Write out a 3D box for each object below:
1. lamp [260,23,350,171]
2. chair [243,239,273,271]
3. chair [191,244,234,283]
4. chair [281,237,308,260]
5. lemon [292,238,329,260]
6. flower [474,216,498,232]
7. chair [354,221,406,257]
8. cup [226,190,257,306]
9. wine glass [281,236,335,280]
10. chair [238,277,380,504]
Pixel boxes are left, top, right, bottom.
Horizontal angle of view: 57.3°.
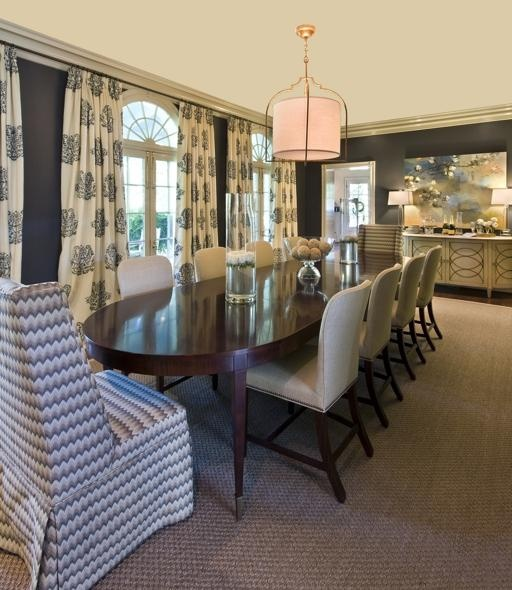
[{"bbox_3d":[0.366,-1.368,3.240,0.467,0.861,0.527,-2,4,-1],"label":"lamp"},{"bbox_3d":[0.013,-0.324,3.759,0.204,0.336,0.248,-1,2,-7],"label":"chair"},{"bbox_3d":[-0.315,-0.218,3.263,0.216,0.334,0.227,-4,4,-39],"label":"chair"},{"bbox_3d":[0.289,-0.396,3.748,0.185,0.216,0.230,-1,0,-1],"label":"chair"},{"bbox_3d":[0.346,-0.288,2.937,0.137,0.089,0.149,-1,3,-8],"label":"lemon"},{"bbox_3d":[2.941,-0.885,6.013,0.189,0.183,0.223,-3,1,31],"label":"flower"},{"bbox_3d":[1.180,-0.537,4.601,0.408,0.389,0.403,9,14,39],"label":"chair"},{"bbox_3d":[-0.072,-0.217,2.185,0.125,0.527,0.137,0,-3,0],"label":"cup"},{"bbox_3d":[0.345,-0.253,3.072,0.289,0.312,0.340,0,27,0],"label":"wine glass"},{"bbox_3d":[0.245,0.339,2.135,0.481,0.919,0.488,12,18,33],"label":"chair"}]
